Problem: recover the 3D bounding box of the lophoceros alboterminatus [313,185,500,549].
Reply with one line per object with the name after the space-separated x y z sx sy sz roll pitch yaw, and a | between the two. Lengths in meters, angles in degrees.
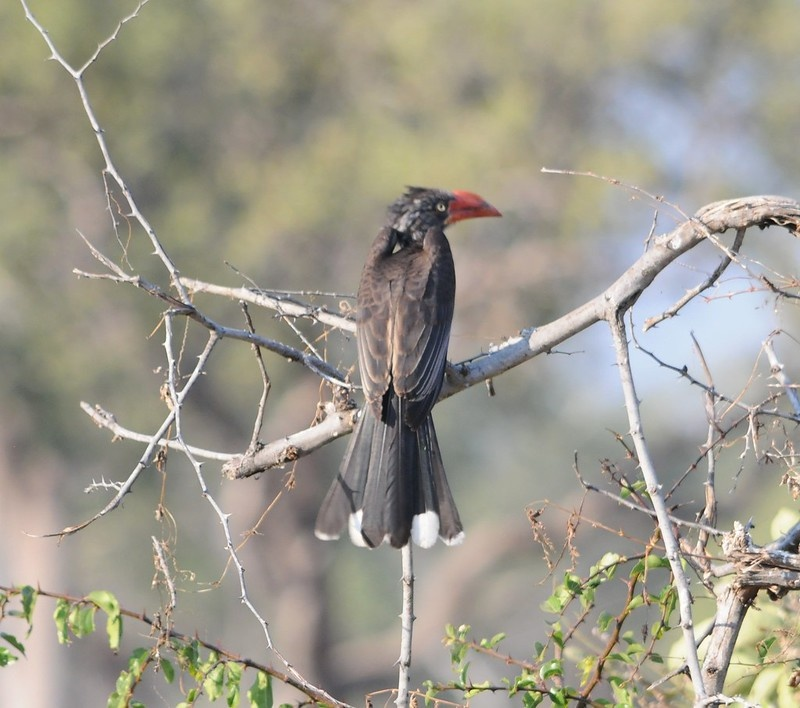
0.087 0.087 7.897 0.715 2.517 0.743 -2 -40 13 | lophoceros alboterminatus
